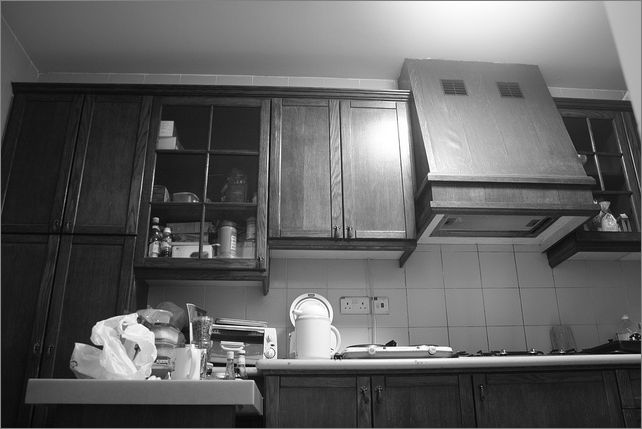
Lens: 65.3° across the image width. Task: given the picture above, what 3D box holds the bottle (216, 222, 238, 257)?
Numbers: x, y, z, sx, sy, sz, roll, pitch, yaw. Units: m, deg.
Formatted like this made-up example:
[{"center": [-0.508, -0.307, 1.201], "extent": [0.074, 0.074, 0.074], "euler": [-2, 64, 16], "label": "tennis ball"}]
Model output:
[{"center": [-0.655, 0.184, 3.470], "extent": [0.161, 0.245, 0.159], "euler": [-2, -18, -1], "label": "bottle"}]

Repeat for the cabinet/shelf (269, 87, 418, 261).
[{"center": [0.136, -0.250, 3.595], "extent": [1.228, 1.317, 0.554], "euler": [0, -23, -3], "label": "cabinet/shelf"}]

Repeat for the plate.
[{"center": [-0.039, 0.740, 3.405], "extent": [0.369, 0.450, 0.432], "euler": [1, -16, -3], "label": "plate"}]

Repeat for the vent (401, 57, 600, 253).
[{"center": [1.250, -0.371, 3.593], "extent": [1.300, 1.528, 0.787], "euler": [2, -26, -3], "label": "vent"}]

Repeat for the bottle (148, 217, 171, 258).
[{"center": [-1.111, 0.168, 3.429], "extent": [0.137, 0.343, 0.080], "euler": [-1, -38, -13], "label": "bottle"}]

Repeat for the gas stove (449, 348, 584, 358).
[{"center": [1.273, 0.908, 3.296], "extent": [0.754, 0.046, 0.781], "euler": [-2, -15, 9], "label": "gas stove"}]

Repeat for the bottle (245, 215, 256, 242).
[{"center": [-0.492, 0.097, 3.487], "extent": [0.084, 0.168, 0.021], "euler": [-6, -18, 21], "label": "bottle"}]
